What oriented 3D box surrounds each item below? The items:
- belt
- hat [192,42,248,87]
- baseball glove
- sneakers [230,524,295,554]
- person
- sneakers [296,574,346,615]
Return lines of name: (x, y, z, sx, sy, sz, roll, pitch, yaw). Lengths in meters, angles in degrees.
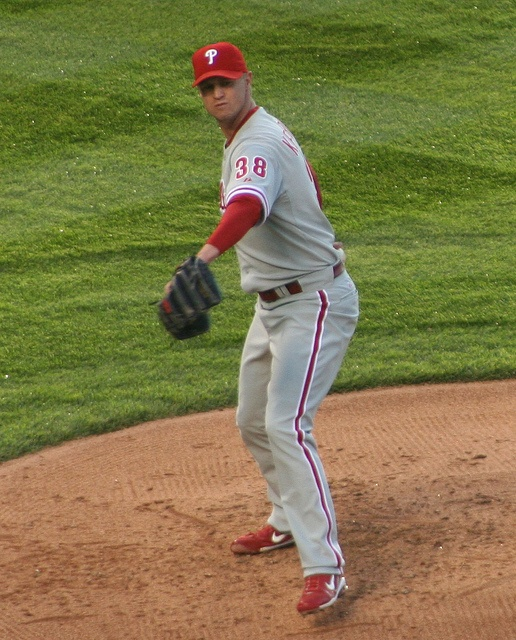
belt: (0.211, -0.170, 4.636, 0.283, 0.062, 0.206, -21, 5, 3)
hat: (-0.190, -1.259, 4.639, 0.266, 0.177, 0.341, -6, 21, 8)
baseball glove: (-0.278, -0.089, 4.272, 0.160, 0.360, 0.281, 11, -20, -41)
sneakers: (0.015, 1.123, 5.021, 0.398, 0.148, 0.126, -3, 5, -4)
person: (0.052, 0.008, 4.541, 0.819, 2.543, 1.088, 1, 18, 6)
sneakers: (0.295, 1.248, 4.429, 0.106, 0.117, 0.288, -4, 6, 23)
